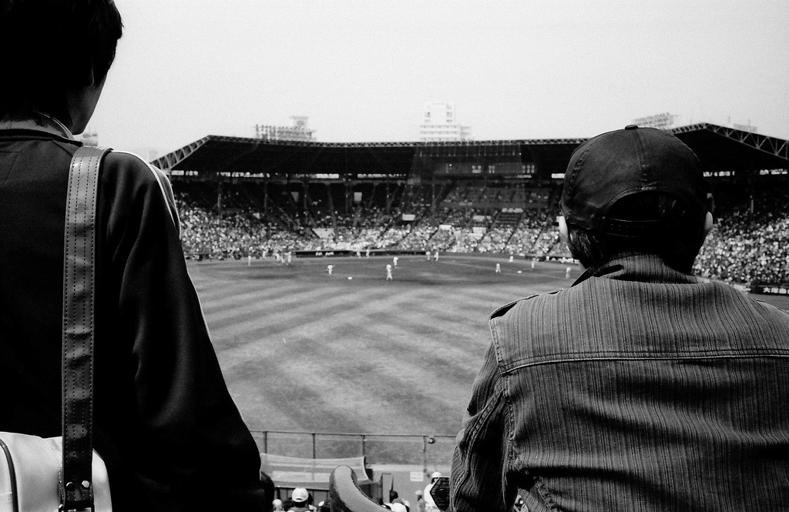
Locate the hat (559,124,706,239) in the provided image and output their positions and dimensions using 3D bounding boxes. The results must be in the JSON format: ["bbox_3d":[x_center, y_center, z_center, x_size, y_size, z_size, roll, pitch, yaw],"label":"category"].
[{"bbox_3d":[1.102,-0.365,4.899,0.610,0.450,0.829,0,8,8],"label":"hat"}]

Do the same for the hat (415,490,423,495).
[{"bbox_3d":[0.299,2.777,12.267,0.075,0.067,0.075,0,-4,-10],"label":"hat"}]
